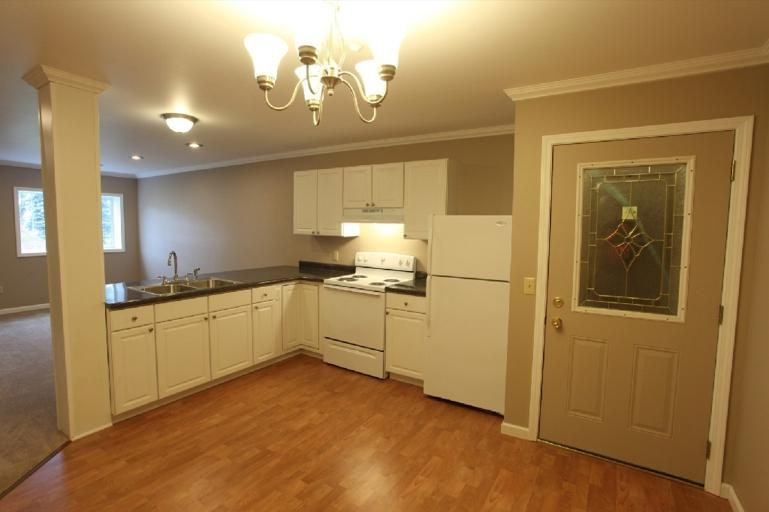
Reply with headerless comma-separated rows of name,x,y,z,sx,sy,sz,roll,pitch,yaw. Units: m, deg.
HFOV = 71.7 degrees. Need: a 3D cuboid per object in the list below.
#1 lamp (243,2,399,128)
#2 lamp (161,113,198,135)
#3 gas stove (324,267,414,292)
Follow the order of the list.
lamp,-0.384,-1.347,3.925,1.041,0.852,0.994,0,4,2
lamp,-2.071,-1.345,5.407,0.359,0.152,0.288,-1,4,-21
gas stove,-0.139,0.259,5.974,0.909,0.183,0.635,2,4,28
